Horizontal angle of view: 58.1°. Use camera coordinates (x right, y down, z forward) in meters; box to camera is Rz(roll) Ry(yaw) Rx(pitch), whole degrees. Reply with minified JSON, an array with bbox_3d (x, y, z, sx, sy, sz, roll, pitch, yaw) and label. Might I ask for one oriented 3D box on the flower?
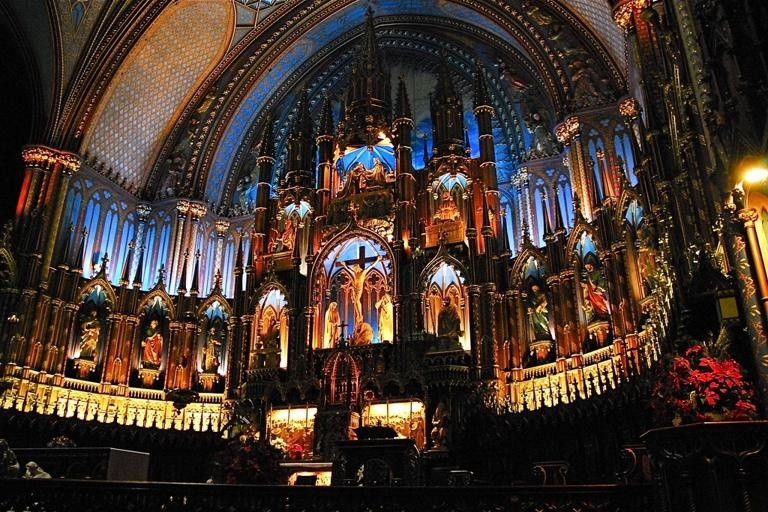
[{"bbox_3d":[5.867,2.332,13.101,1.636,1.201,1.643,0,-15,4],"label":"flower"}]
